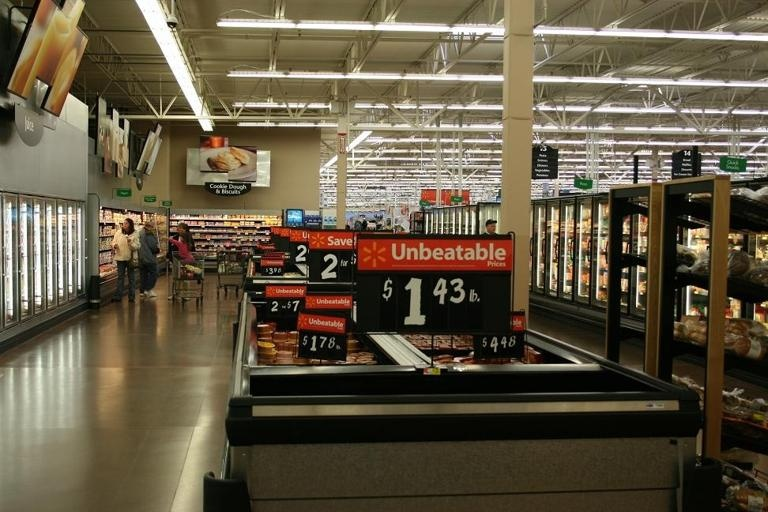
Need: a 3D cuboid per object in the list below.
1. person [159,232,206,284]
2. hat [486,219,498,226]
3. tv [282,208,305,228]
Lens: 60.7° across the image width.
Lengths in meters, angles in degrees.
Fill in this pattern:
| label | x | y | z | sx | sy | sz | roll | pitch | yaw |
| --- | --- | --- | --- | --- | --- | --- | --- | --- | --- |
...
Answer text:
| label | x | y | z | sx | sy | sz | roll | pitch | yaw |
| --- | --- | --- | --- | --- | --- | --- | --- | --- | --- |
| person | -4.878 | 0.122 | 15.687 | 1.168 | 1.374 | 1.091 | -4 | -8 | 3 |
| hat | 2.213 | -0.713 | 13.588 | 0.274 | 0.127 | 0.419 | 1 | 4 | 29 |
| tv | -3.275 | -1.373 | 23.536 | 0.895 | 0.762 | 0.459 | 2 | 8 | -3 |
